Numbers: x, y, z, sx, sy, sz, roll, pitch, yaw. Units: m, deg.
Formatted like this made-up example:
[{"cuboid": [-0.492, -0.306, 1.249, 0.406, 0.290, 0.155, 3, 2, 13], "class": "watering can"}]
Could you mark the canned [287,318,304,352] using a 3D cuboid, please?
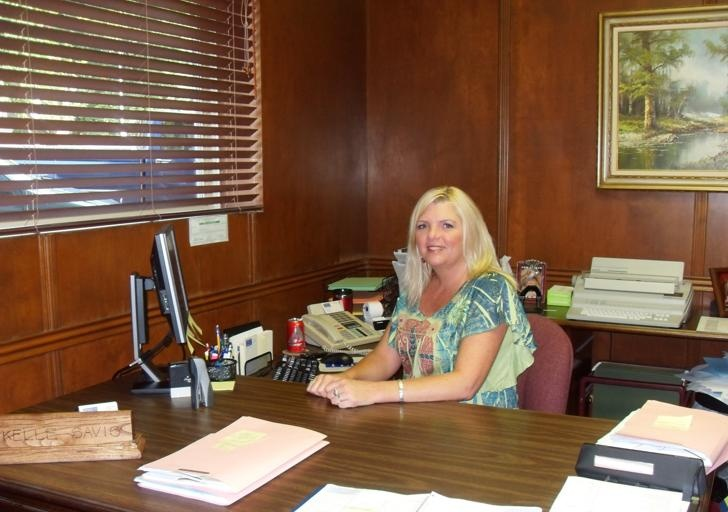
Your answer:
[{"cuboid": [-0.364, 0.421, 3.024, 0.090, 0.165, 0.197, -3, 9, -6], "class": "canned"}]

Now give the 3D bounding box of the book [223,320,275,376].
[{"cuboid": [-0.551, 0.447, 2.663, 0.132, 0.298, 0.314, -3, 5, 29], "class": "book"}]

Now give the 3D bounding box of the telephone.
[{"cuboid": [-0.133, 0.393, 3.121, 0.394, 0.177, 0.442, 6, 10, 27], "class": "telephone"}]

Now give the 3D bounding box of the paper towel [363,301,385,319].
[{"cuboid": [0.056, 0.332, 3.409, 0.122, 0.108, 0.091, -4, -2, -38], "class": "paper towel"}]

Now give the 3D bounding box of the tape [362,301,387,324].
[{"cuboid": [0.056, 0.329, 3.380, 0.147, 0.129, 0.108, -3, -1, -41], "class": "tape"}]

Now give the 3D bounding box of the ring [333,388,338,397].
[{"cuboid": [-0.102, 0.498, 2.020, 0.017, 0.022, 0.008, -9, -7, 41], "class": "ring"}]

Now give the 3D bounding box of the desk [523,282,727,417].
[{"cuboid": [1.882, 0.729, 3.822, 1.187, 0.779, 1.197, 3, 12, 20], "class": "desk"}]

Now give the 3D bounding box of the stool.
[{"cuboid": [1.740, 0.761, 3.367, 0.358, 0.329, 0.293, 0, 1, 33], "class": "stool"}]

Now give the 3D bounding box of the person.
[{"cuboid": [0.271, 0.282, 2.427, 0.748, 1.118, 0.976, 1, 2, 37], "class": "person"}]
